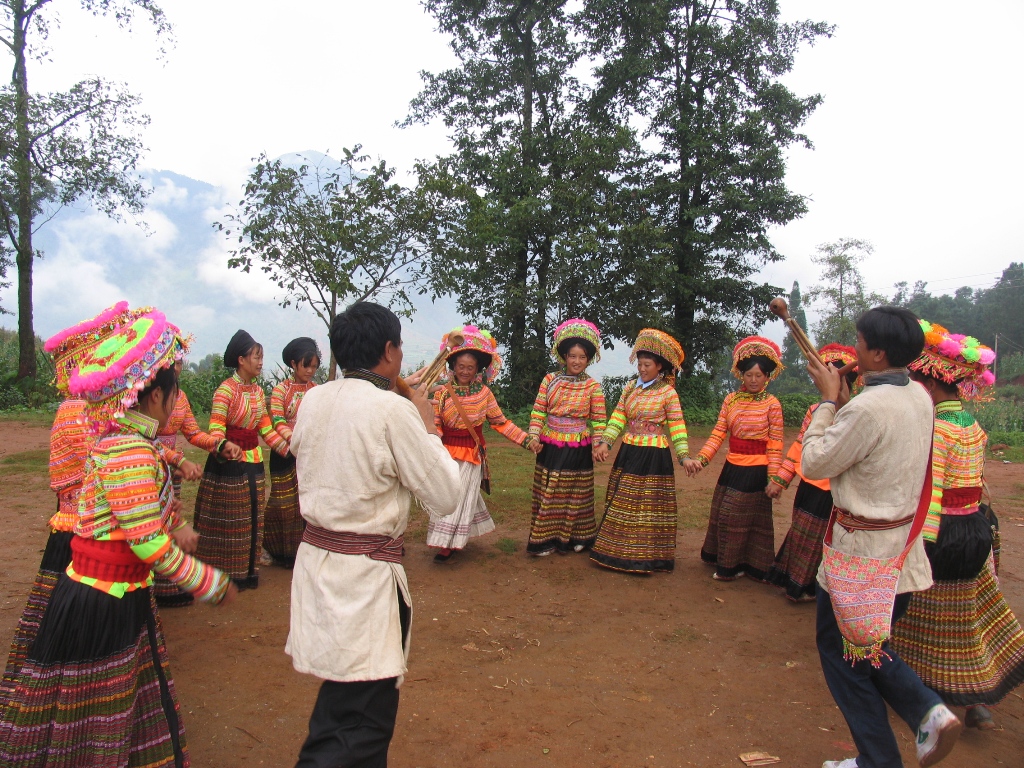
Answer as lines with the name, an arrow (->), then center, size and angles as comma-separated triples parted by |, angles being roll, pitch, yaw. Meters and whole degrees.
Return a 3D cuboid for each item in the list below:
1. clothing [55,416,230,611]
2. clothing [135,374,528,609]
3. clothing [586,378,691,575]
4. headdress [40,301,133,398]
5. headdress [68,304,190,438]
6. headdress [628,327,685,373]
clothing -> -1.943, 0.602, 3.755 | 0.813, 0.961, 1.116 | 0, 2, -26
clothing -> -2.121, 0.948, 8.973 | 5.945, 1.661, 4.053 | -6, -2, -13
clothing -> 1.269, 0.903, 6.896 | 0.863, 1.886, 0.573 | 2, 8, 8
headdress -> -2.278, -0.157, 3.797 | 0.340, 0.357, 0.329 | -26, 68, -38
headdress -> -2.050, -0.053, 3.672 | 0.173, 0.599, 0.608 | 46, 14, -23
headdress -> 1.463, -0.324, 6.967 | 0.496, 0.441, 0.431 | 3, 8, 10
